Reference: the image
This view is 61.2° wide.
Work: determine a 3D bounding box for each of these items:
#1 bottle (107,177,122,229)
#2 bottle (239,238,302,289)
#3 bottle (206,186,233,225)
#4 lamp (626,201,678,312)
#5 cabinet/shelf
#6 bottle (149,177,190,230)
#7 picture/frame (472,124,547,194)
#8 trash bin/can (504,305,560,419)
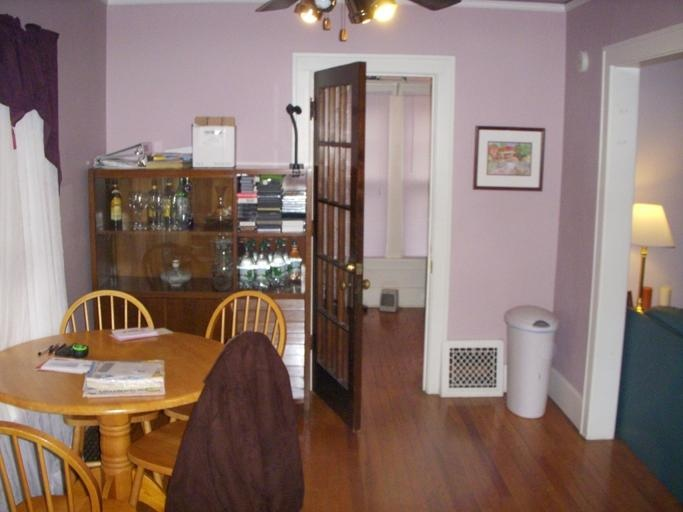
[{"bbox_3d":[-1.704,-0.375,4.337,0.108,0.357,0.047,-1,12,-10],"label":"bottle"},{"bbox_3d":[-0.540,0.072,4.420,0.396,0.391,0.397,-7,11,-42],"label":"bottle"},{"bbox_3d":[-0.909,-0.378,4.322,0.202,0.318,0.033,4,12,13],"label":"bottle"},{"bbox_3d":[2.561,-0.020,4.794,0.327,0.799,1.121,8,13,29],"label":"lamp"},{"bbox_3d":[-0.980,0.142,3.867,1.747,2.084,0.644,0,5,-2],"label":"cabinet/shelf"},{"bbox_3d":[-1.296,-0.395,4.343,0.306,0.374,0.073,3,12,9],"label":"bottle"},{"bbox_3d":[1.367,-0.823,4.723,0.490,0.484,0.051,1,8,-3],"label":"picture/frame"},{"bbox_3d":[1.454,0.827,4.531,0.393,0.830,0.260,5,13,20],"label":"trash bin/can"}]
